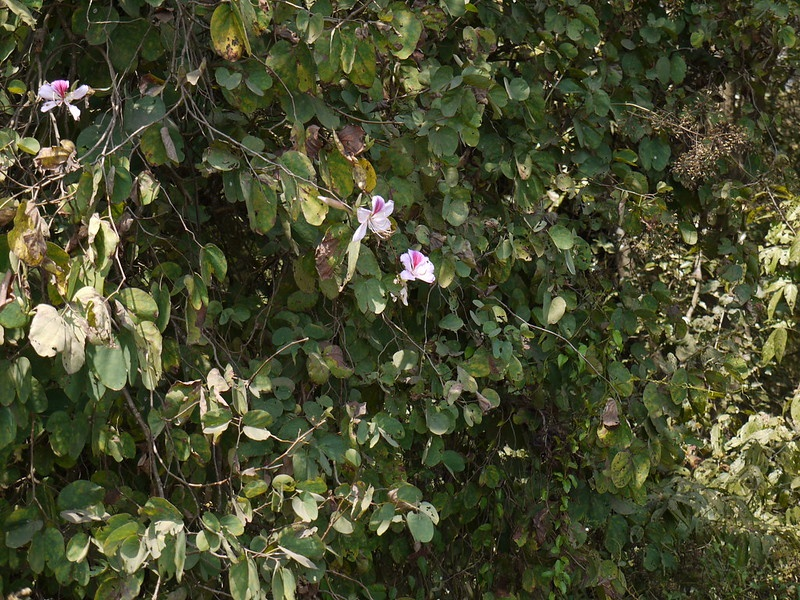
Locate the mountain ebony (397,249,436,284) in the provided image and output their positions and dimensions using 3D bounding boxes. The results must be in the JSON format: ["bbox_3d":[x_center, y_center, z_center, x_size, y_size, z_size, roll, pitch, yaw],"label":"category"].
[{"bbox_3d":[0.043,-0.090,2.241,0.105,0.076,0.158,28,15,-1],"label":"mountain ebony"}]

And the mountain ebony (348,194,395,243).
[{"bbox_3d":[-0.082,-0.230,2.095,0.112,0.043,0.153,5,-11,-15],"label":"mountain ebony"}]
